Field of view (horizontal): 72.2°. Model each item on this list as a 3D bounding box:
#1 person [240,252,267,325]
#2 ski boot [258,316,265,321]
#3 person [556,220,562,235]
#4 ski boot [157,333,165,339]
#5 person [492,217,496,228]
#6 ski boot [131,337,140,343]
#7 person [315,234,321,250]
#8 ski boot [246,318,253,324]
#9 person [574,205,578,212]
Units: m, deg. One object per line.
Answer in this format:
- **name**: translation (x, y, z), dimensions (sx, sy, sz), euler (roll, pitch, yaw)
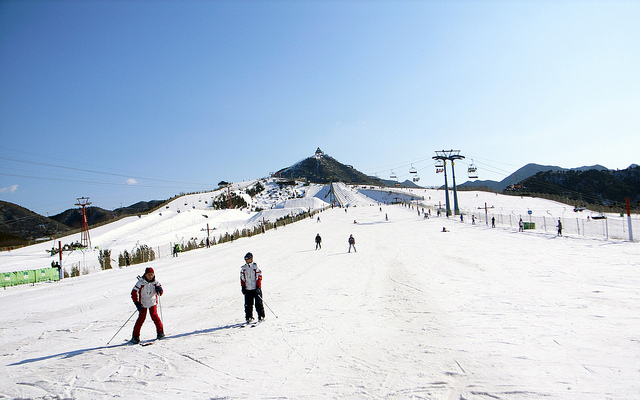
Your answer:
- **person**: translation (-3.131, 4.192, 20.486), dimensions (1.013, 3.291, 0.891), euler (-4, 14, -10)
- **ski boot**: translation (-2.765, 5.596, 20.688), dimensions (0.212, 0.200, 0.073), euler (-6, -13, -16)
- **person**: translation (20.959, 2.423, 38.404), dimensions (0.258, 1.267, 0.868), euler (4, 15, 19)
- **ski boot**: translation (-7.161, 6.081, 19.644), dimensions (0.185, 0.237, 0.234), euler (1, -19, -10)
- **person**: translation (18.556, 2.482, 46.801), dimensions (0.375, 1.007, 1.423), euler (4, 14, 21)
- **ski boot**: translation (-8.157, 6.177, 19.396), dimensions (0.220, 0.150, 0.214), euler (-2, -6, -1)
- **person**: translation (-0.187, 3.546, 36.449), dimensions (0.485, 1.306, 0.913), euler (-2, 14, -2)
- **ski boot**: translation (-3.323, 5.656, 20.563), dimensions (0.224, 0.084, 0.218), euler (-11, 4, 10)
- **person**: translation (40.319, 1.149, 69.250), dimensions (0.200, 0.720, 0.420), euler (9, 9, -41)
